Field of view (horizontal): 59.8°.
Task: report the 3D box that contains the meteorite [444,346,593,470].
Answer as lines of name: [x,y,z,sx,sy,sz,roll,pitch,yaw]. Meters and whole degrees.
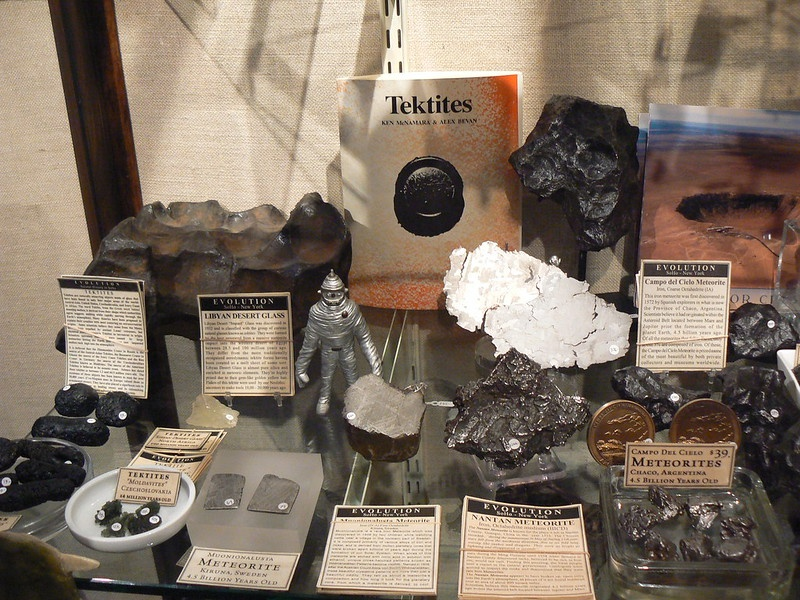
meteorite: [0.265,0.260,1.547,0.308,0.272,0.139,4,9,17]

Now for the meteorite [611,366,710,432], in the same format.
meteorite: [0.634,0.204,1.689,0.172,0.066,0.166,-30,46,-36]

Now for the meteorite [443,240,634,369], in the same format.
meteorite: [0.354,-0.026,1.915,0.564,0.298,0.383,-3,29,0]
